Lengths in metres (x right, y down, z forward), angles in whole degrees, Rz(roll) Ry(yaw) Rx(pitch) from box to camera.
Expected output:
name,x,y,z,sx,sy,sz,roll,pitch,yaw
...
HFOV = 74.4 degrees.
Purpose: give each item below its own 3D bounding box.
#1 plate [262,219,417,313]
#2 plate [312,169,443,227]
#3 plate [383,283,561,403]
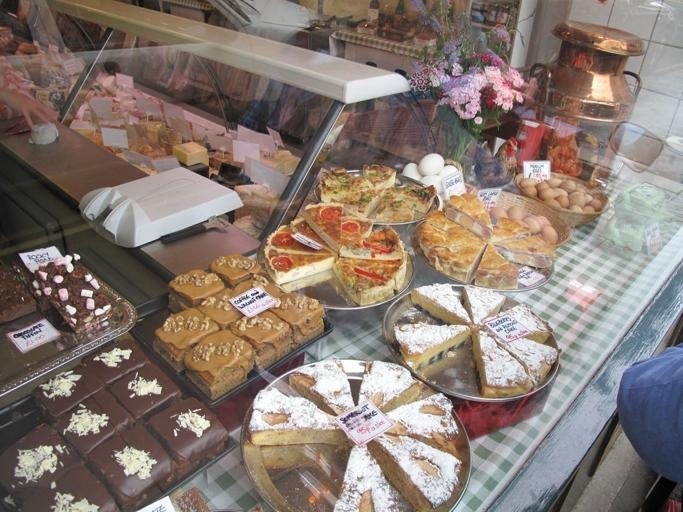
name,x,y,z,sx,sy,sz,roll,pitch,yaw
plate,-0.121,0.056,2.348,0.554,0.114,0.504,-4,37,-13
plate,0.195,-0.388,2.845,0.524,0.126,0.499,-12,44,-33
plate,0.624,0.369,2.129,0.717,0.455,0.925,4,21,8
